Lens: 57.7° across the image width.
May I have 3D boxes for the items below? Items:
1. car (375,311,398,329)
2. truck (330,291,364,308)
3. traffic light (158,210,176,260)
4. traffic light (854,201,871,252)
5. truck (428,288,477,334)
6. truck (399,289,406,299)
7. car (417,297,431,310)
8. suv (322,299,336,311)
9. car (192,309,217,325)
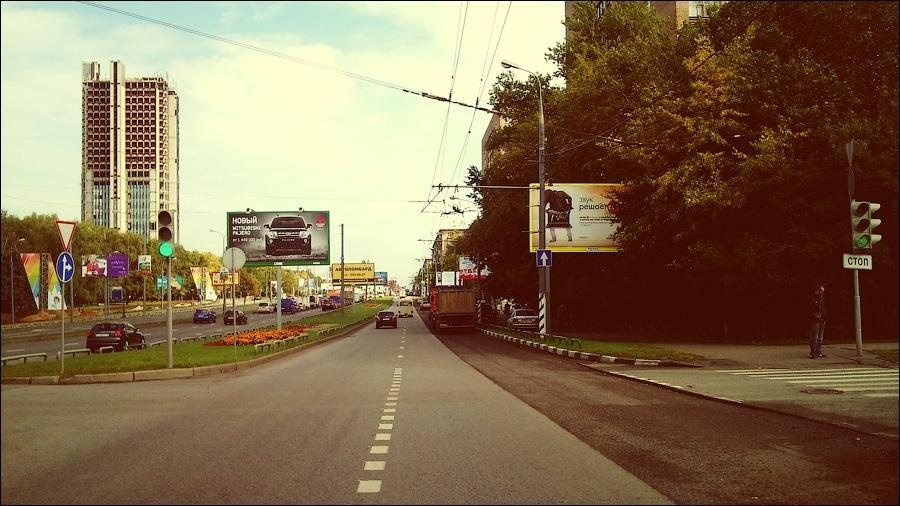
[{"bbox_3d":[-5.731,6.000,73.343,1.324,0.937,2.914,-1,-9,-2],"label":"car"},{"bbox_3d":[-19.573,8.136,150.029,5.706,2.592,7.412,0,-5,-2],"label":"truck"},{"bbox_3d":[-12.361,-0.856,35.535,0.645,2.102,0.841,-2,-3,-20],"label":"traffic light"},{"bbox_3d":[17.815,-1.265,35.403,0.814,1.642,0.620,-5,-3,30],"label":"traffic light"},{"bbox_3d":[0.387,4.101,62.379,2.516,2.365,4.159,1,-3,-1],"label":"truck"},{"bbox_3d":[-12.430,10.601,214.203,1.710,2.218,3.066,-2,-2,3],"label":"truck"},{"bbox_3d":[-4.257,8.684,142.340,2.203,1.517,5.156,0,-6,-3],"label":"car"},{"bbox_3d":[-18.047,7.728,121.620,1.228,1.056,2.185,1,2,-2],"label":"suv"},{"bbox_3d":[-25.823,6.711,86.601,1.602,0.972,3.003,0,0,-7],"label":"car"}]
